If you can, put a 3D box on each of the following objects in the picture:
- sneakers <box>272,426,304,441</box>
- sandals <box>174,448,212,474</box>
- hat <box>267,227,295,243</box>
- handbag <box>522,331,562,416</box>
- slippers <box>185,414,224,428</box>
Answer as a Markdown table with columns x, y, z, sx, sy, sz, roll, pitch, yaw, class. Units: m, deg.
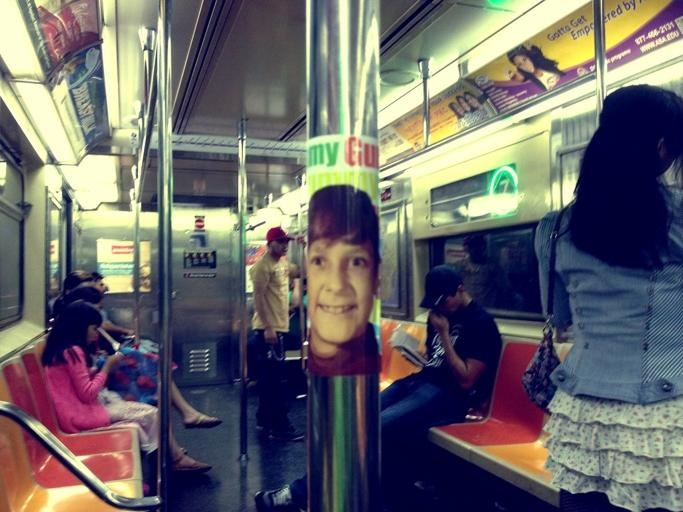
| x | y | z | sx | sy | sz | roll | pitch | yaw | class |
| --- | --- | --- | --- | --- | --- | --- | --- | --- | --- |
| -0.546 | 1.773 | 5.584 | 0.221 | 0.084 | 0.140 | -3 | -6 | 7 | sneakers |
| -1.202 | 1.734 | 4.712 | 0.395 | 0.174 | 0.147 | 0 | -11 | 0 | sandals |
| -0.682 | -0.230 | 6.066 | 0.231 | 0.125 | 0.154 | -4 | 3 | -2 | hat |
| 0.873 | 0.447 | 2.429 | 0.181 | 0.391 | 0.318 | 3 | 5 | 15 | handbag |
| -1.330 | 1.576 | 5.348 | 0.400 | 0.157 | 0.164 | -1 | -4 | -5 | slippers |
